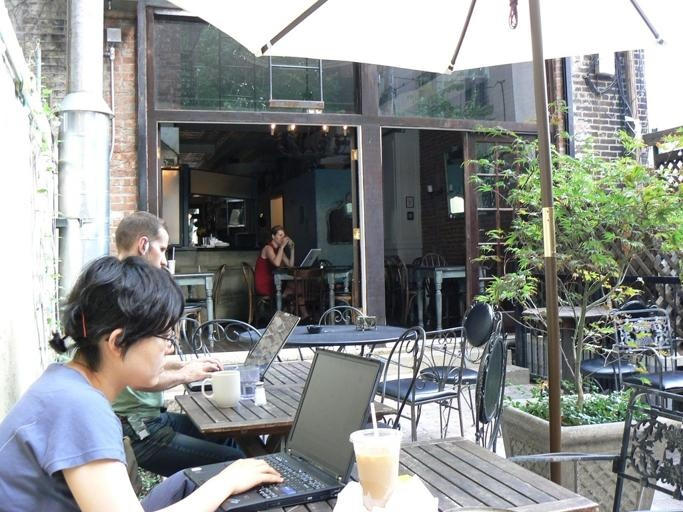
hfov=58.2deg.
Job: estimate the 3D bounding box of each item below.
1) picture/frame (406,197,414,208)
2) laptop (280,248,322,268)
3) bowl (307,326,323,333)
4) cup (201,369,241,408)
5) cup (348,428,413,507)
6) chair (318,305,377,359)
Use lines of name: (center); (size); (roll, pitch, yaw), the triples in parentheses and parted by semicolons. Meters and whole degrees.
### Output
picture/frame: (1.142, -0.895, 10.341); (0.156, 0.244, 0.023); (0, -6, -8)
laptop: (-0.468, 0.038, 8.371); (0.329, 0.236, 0.362); (5, 2, 31)
bowl: (-0.205, 0.550, 4.549); (0.061, 0.031, 0.062); (-1, -1, 0)
cup: (-0.507, 0.564, 2.568); (0.148, 0.122, 0.098); (-2, 1, -19)
cup: (0.105, 0.522, 1.543); (0.158, 0.198, 0.121); (-3, 2, -40)
chair: (0.037, 0.717, 6.013); (0.495, 0.573, 0.528); (-1, -5, 1)
